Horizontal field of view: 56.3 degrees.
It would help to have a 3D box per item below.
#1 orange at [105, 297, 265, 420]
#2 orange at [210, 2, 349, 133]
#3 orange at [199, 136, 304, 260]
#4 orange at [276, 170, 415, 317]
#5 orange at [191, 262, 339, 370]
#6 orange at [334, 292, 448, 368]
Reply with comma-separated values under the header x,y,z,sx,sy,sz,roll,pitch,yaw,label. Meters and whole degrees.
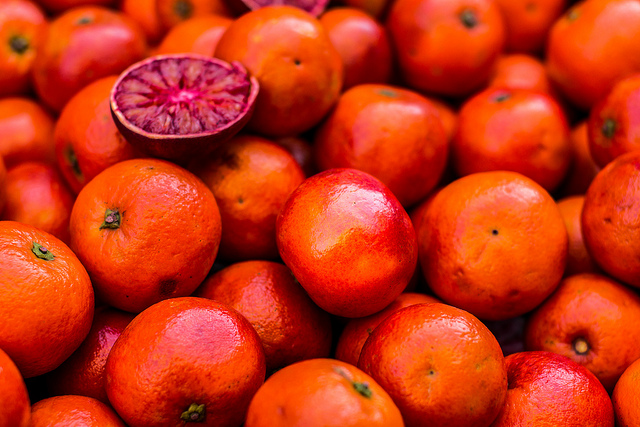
x,y,z,sx,sy,sz,roll,pitch,yaw,label
-0.358,0.381,1.549,0.407,0.125,0.320,-12,66,-4,orange
-0.083,-0.442,1.949,0.356,0.414,0.382,-1,42,30,orange
-0.172,-0.043,1.993,0.319,0.335,0.399,34,96,-3,orange
0.098,0.050,1.773,0.341,0.413,0.402,2,37,11,orange
-0.132,0.268,1.762,0.314,0.297,0.325,34,109,22,orange
0.211,0.362,1.786,0.223,0.223,0.242,19,87,56,orange
